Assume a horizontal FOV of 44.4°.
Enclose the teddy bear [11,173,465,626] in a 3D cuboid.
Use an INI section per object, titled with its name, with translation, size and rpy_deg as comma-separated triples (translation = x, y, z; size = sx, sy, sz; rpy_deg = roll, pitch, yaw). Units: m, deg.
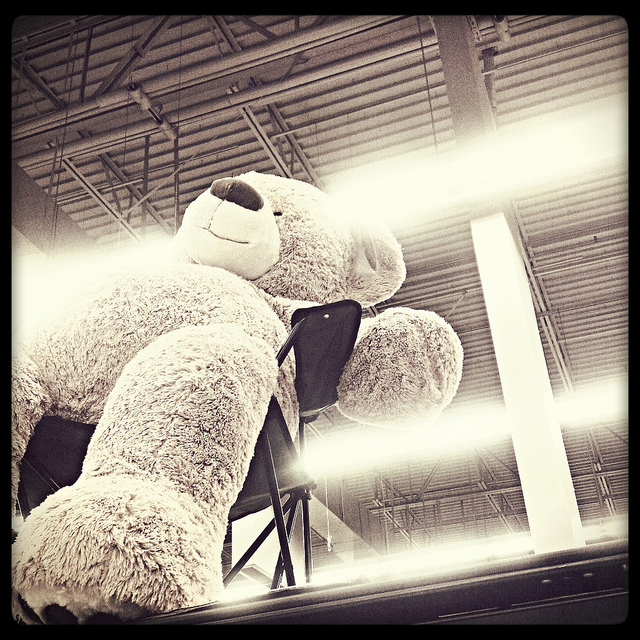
[teddy bear]
translation = -0.201, 0.048, 2.139
size = 1.295, 1.132, 1.130
rpy_deg = 1, -3, -28
